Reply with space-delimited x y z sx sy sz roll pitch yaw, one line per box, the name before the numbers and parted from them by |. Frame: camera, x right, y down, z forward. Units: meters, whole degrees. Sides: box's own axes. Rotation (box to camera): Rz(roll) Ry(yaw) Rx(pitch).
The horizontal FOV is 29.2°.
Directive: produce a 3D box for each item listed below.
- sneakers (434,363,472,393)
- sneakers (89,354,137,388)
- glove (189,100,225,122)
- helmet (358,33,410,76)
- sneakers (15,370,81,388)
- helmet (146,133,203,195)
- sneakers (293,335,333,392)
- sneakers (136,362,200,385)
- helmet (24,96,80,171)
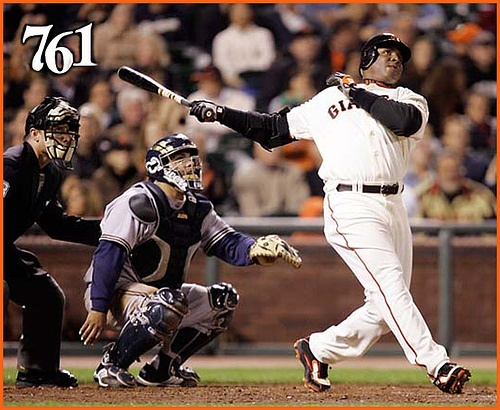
sneakers | 1.576 1.359 7.594 0.214 0.135 0.374 23 -28 -4
sneakers | -1.169 1.392 7.962 0.386 0.164 0.190 11 -19 40
glove | -0.364 -0.813 8.121 0.245 0.116 0.185 20 29 35
helmet | 1.121 -1.233 8.064 0.389 0.301 0.293 2 -21 44
sneakers | -1.710 1.455 8.103 0.523 0.199 0.178 0 -2 -12
helmet | -0.640 -0.347 8.198 0.546 0.471 0.418 -5 -6 29
sneakers | 0.514 1.361 8.111 0.285 0.528 0.197 -23 -4 15
sneakers | -0.669 1.411 8.182 0.576 0.240 0.200 1 1 -16
helmet | -1.632 -0.630 7.965 0.427 0.511 0.242 11 6 18
